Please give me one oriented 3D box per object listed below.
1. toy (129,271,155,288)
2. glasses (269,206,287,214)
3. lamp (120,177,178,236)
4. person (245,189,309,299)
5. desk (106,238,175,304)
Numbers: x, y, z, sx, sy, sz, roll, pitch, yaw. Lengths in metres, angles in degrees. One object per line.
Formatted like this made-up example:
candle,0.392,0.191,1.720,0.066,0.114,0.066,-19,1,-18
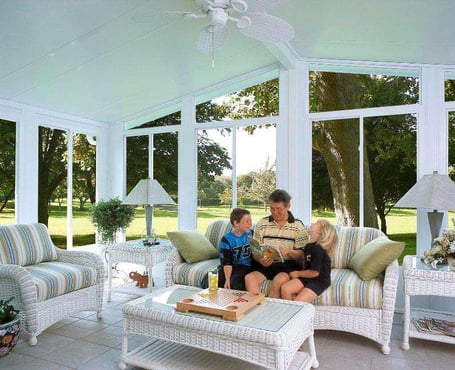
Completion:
toy,-1.226,1.359,5.419,0.373,0.259,0.199,5,-8,-4
glasses,0.518,0.259,3.781,0.090,0.065,0.109,-4,-12,26
lamp,-1.053,0.298,4.974,0.455,0.762,0.517,3,4,41
person,0.442,0.677,3.790,0.602,1.227,0.699,4,3,38
desk,-1.099,1.013,5.086,0.898,0.751,0.740,-3,-5,32
